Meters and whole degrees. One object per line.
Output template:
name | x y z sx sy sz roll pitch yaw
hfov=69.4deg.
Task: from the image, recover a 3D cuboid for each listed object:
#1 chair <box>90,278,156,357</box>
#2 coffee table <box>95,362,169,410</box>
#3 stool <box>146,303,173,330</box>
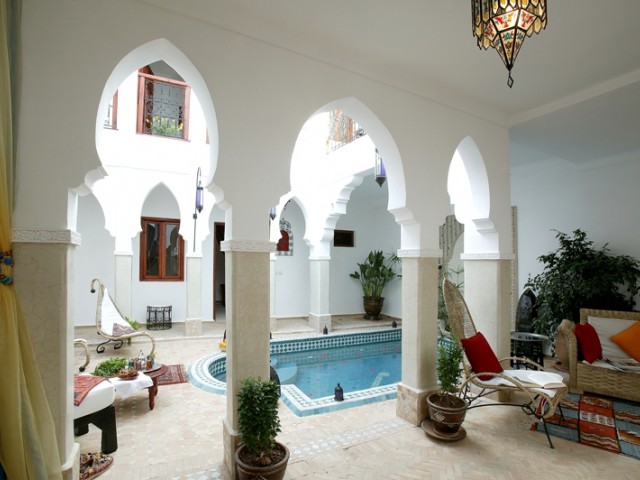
chair | -3.877 1.463 8.804 0.722 1.367 1.954 -1 4 -27
coffee table | -2.480 1.993 6.238 0.517 0.578 0.893 0 3 5
stool | -3.989 1.888 11.445 0.499 0.533 0.541 3 -6 -14
